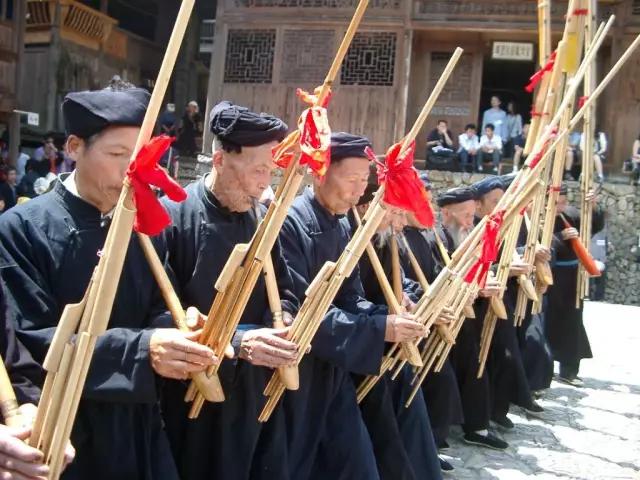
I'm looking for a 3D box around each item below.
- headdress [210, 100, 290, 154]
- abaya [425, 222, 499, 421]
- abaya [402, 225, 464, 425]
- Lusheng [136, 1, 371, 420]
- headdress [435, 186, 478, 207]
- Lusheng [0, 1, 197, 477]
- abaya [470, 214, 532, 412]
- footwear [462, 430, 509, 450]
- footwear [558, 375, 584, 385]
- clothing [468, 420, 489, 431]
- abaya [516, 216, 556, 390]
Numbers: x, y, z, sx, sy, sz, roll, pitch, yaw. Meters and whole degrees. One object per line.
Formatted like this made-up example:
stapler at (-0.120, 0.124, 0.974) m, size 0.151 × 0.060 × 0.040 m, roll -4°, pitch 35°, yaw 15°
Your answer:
headdress at (-0.456, -0.674, 4.611) m, size 0.306 × 0.191 × 0.361 m, roll 0°, pitch 6°, yaw 6°
abaya at (1.273, 0.995, 6.315) m, size 0.412 × 2.212 × 0.332 m, roll -2°, pitch 13°, yaw -19°
abaya at (0.863, 0.832, 6.079) m, size 0.412 × 1.828 × 0.287 m, roll -6°, pitch 10°, yaw -19°
Lusheng at (-0.482, 0.018, 4.432) m, size 0.470 × 2.978 × 0.814 m, roll 24°, pitch 12°, yaw 40°
headdress at (1.189, -0.373, 6.585) m, size 0.203 × 0.102 × 0.212 m, roll -5°, pitch 0°, yaw -10°
Lusheng at (-1.060, -0.001, 3.912) m, size 0.675 × 2.410 × 0.559 m, roll 4°, pitch 5°, yaw -12°
abaya at (1.635, 0.642, 6.781) m, size 0.386 × 1.758 × 0.413 m, roll -1°, pitch 1°, yaw 26°
footwear at (1.423, 1.699, 6.541) m, size 0.383 × 0.176 × 0.154 m, roll 4°, pitch 1°, yaw 11°
footwear at (2.750, 1.508, 8.276) m, size 0.232 × 0.104 × 0.087 m, roll 1°, pitch 3°, yaw 39°
clothing at (1.349, 1.573, 6.450) m, size 0.133 × 0.100 × 0.093 m, roll -4°, pitch 7°, yaw 12°
abaya at (2.076, 0.730, 7.575) m, size 0.382 × 1.897 × 0.513 m, roll -1°, pitch -1°, yaw 14°
